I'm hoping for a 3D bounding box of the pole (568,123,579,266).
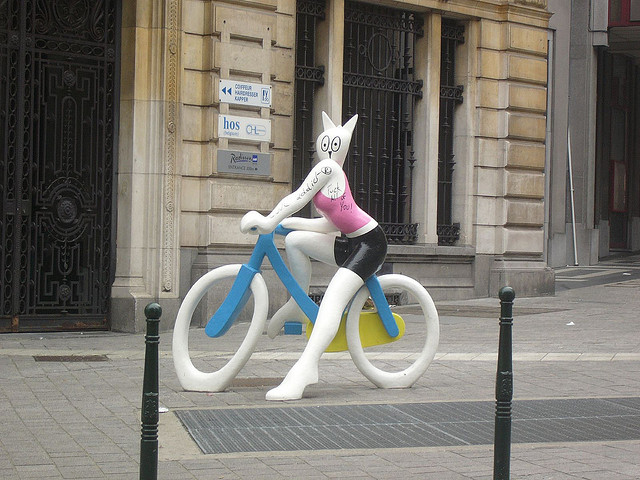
[{"bbox_3d":[7.661,-1.360,31.532,0.391,4.245,0.717,1,1,14],"label":"pole"}]

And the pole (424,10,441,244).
[{"bbox_3d":[2.158,-2.195,20.082,0.303,4.547,0.278,1,1,-7],"label":"pole"}]
